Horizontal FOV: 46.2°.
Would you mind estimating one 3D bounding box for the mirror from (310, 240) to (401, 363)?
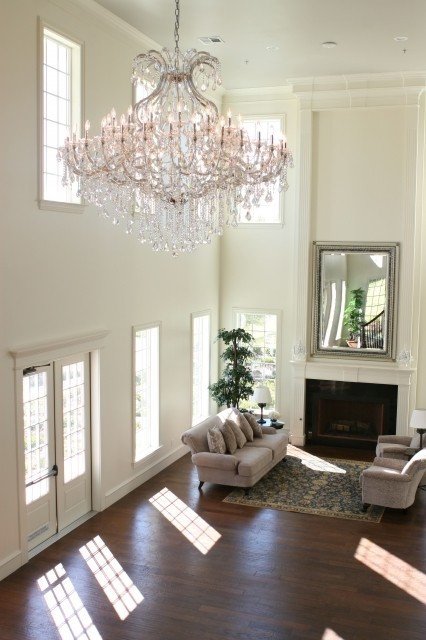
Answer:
[{"bbox_3d":[3.016,-0.450,10.344,2.300,3.386,0.240,2,3,19],"label":"mirror"}]
